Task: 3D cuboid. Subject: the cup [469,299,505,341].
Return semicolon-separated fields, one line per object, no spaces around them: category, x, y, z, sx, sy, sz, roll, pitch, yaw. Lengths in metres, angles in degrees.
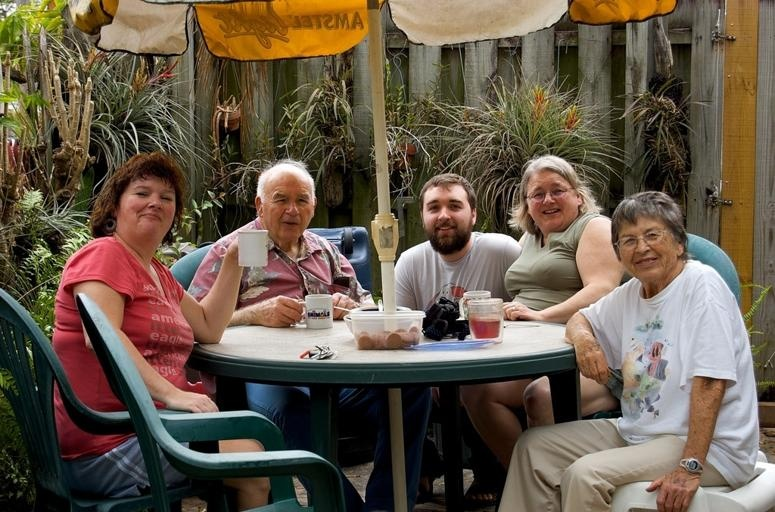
cup;0.438;0.281;3.383;0.158;0.198;0.167;-1;-2;0

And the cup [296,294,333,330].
cup;-0.357;0.274;3.724;0.162;0.160;0.109;-1;0;2

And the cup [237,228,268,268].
cup;-0.606;-0.040;3.459;0.136;0.171;0.146;0;2;0

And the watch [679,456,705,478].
watch;1.247;0.861;3.094;0.081;0.063;0.081;19;-11;20

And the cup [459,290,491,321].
cup;0.423;0.233;3.657;0.148;0.145;0.100;-1;3;7

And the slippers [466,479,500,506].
slippers;0.535;1.320;4.262;0.145;0.086;0.155;7;-14;-42

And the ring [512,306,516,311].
ring;0.675;0.276;4.041;0.005;0.021;0.014;9;-1;-42
